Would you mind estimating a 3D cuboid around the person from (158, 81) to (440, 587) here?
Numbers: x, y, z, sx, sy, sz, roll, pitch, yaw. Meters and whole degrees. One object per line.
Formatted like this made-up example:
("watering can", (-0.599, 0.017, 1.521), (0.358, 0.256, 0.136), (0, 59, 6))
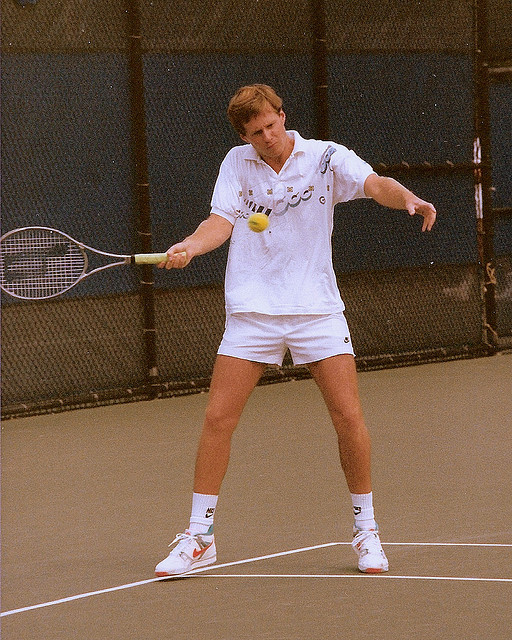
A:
("person", (0.095, -0.032, 2.428), (0.720, 1.466, 0.591), (-3, -14, 11))
